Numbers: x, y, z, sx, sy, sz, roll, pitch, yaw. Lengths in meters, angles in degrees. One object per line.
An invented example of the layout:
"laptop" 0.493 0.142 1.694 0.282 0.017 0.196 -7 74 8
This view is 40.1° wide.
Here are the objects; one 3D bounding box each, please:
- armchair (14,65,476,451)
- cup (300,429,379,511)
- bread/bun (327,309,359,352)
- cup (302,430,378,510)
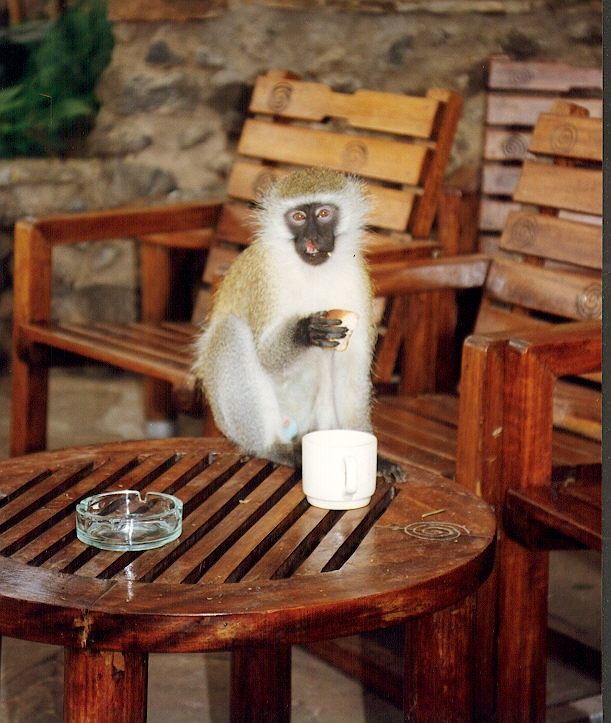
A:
"armchair" -0.127 -0.162 1.870 0.807 0.860 0.786 -22 33 -28
"cup" 0.043 0.155 1.102 0.091 0.069 0.106 -2 -3 -9
"bread/bun" 0.070 -0.058 1.518 0.080 0.068 0.021 -5 23 -41
"cup" 0.041 0.143 1.124 0.097 0.073 0.113 0 7 -3
